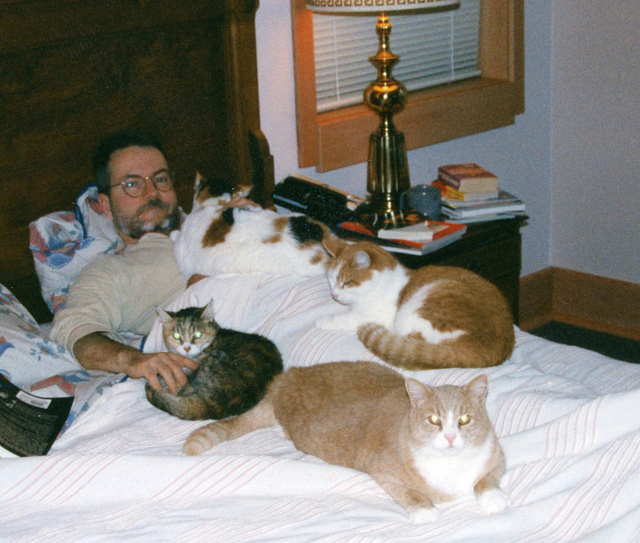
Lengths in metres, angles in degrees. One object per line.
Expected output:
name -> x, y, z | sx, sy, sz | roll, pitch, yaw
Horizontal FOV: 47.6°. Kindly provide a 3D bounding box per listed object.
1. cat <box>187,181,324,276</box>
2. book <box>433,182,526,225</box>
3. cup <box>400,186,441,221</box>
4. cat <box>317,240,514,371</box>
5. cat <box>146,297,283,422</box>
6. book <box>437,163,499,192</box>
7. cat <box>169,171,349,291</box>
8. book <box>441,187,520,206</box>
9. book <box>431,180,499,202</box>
cat -> -0.222, -0.132, 2.570 | 0.375, 0.232, 0.644 | -30, 25, -19
book -> 0.653, -0.252, 2.966 | 0.226, 0.056, 0.233 | -2, 19, -10
cup -> 0.429, -0.309, 2.986 | 0.170, 0.169, 0.150 | 3, 48, 13
cat -> 0.242, 0.075, 2.119 | 0.625, 0.223, 0.408 | 18, 33, 28
cat -> -0.319, 0.253, 2.140 | 0.393, 0.147, 0.429 | -28, 43, -33
book -> 0.607, -0.397, 3.050 | 0.145, 0.050, 0.185 | -6, 15, -18
cat -> -0.250, -0.121, 2.469 | 0.600, 0.313, 0.313 | 13, 30, 34
book -> 0.649, -0.303, 3.021 | 0.150, 0.022, 0.142 | -8, 22, -21
book -> 0.594, -0.327, 3.028 | 0.146, 0.032, 0.148 | -18, 31, -34
